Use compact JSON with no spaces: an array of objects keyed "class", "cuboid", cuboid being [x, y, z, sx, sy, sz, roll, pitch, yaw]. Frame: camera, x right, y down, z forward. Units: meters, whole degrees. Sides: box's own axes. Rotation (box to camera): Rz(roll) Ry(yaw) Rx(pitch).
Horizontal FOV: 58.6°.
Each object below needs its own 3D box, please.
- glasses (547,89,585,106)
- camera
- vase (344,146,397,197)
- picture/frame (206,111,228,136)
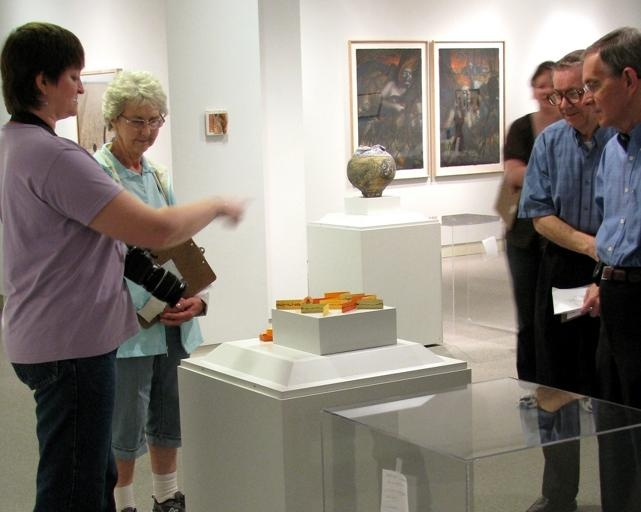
[{"class":"glasses","cuboid":[1.277,-0.824,2.989,0.068,0.080,0.232,-8,9,-26]},{"class":"camera","cuboid":[-0.638,0.074,2.258,0.217,0.208,0.126,37,41,-5]},{"class":"vase","cuboid":[0.512,-0.862,5.702,0.455,0.563,0.445,-16,18,-39]},{"class":"picture/frame","cuboid":[-1.013,-1.292,5.567,0.216,0.262,0.032,0,-1,-25]}]
